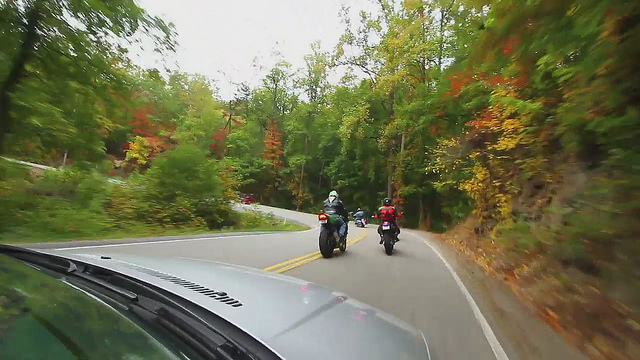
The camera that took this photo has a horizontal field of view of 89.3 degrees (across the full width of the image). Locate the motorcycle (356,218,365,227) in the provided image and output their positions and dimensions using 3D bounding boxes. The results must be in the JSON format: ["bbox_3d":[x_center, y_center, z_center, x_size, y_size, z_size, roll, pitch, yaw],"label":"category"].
[{"bbox_3d":[3.478,3.550,27.982,0.676,0.483,0.403,6,10,-19],"label":"motorcycle"}]

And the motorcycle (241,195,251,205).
[{"bbox_3d":[-4.929,1.277,21.855,0.341,0.362,0.649,3,-7,3],"label":"motorcycle"}]

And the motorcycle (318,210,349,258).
[{"bbox_3d":[0.397,1.859,11.520,0.576,1.572,1.339,16,11,33],"label":"motorcycle"}]

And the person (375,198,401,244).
[{"bbox_3d":[2.493,1.230,12.569,0.973,1.101,1.865,-2,4,16],"label":"person"}]

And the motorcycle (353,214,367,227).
[{"bbox_3d":[3.527,3.528,29.007,0.844,0.835,1.590,0,-29,1],"label":"motorcycle"}]

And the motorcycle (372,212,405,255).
[{"bbox_3d":[2.602,2.130,12.546,0.577,1.243,0.643,12,10,13],"label":"motorcycle"}]
